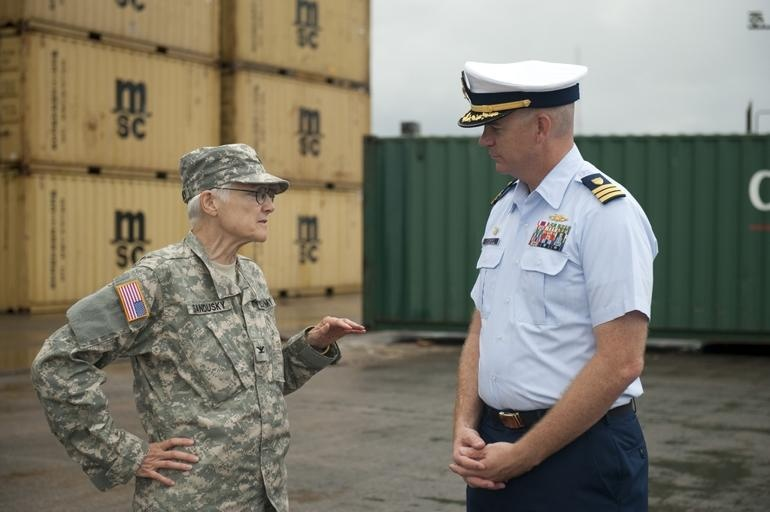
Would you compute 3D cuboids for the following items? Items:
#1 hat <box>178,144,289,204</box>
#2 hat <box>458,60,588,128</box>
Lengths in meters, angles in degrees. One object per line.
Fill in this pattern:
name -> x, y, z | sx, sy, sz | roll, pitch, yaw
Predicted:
hat -> -1.297, -0.736, 11.043 | 0.962, 0.452, 0.682 | -6, -3, 7
hat -> 1.088, -1.413, 10.724 | 1.122, 0.478, 0.925 | -15, 17, -13
